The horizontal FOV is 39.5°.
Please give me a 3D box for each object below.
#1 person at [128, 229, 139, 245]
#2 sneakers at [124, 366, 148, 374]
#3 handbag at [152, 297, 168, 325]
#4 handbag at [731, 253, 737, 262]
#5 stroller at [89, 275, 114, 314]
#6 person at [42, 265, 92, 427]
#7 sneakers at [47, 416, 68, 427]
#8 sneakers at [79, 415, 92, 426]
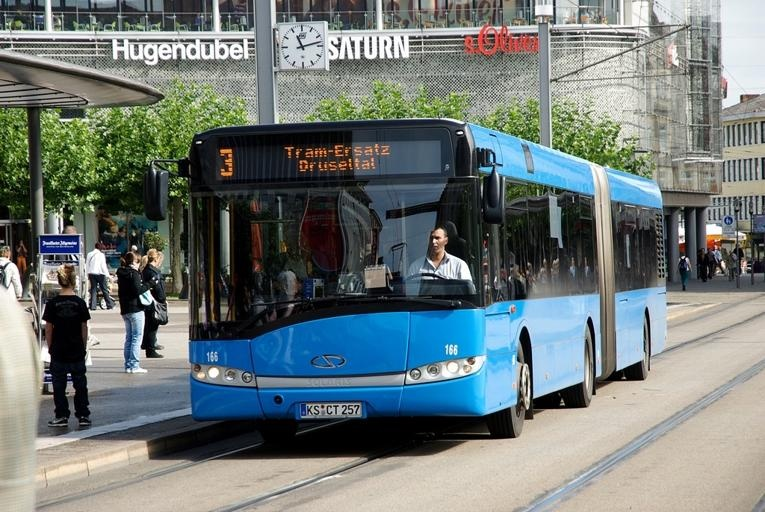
[{"bbox_3d":[-12.552,-0.935,53.562,0.710,0.776,0.309,-1,3,33],"label":"person"},{"bbox_3d":[-4.641,2.177,19.994,0.444,0.228,0.171,0,-3,-2],"label":"sneakers"},{"bbox_3d":[-4.490,1.126,21.362,0.180,0.588,0.507,-6,-6,28],"label":"handbag"},{"bbox_3d":[22.338,0.144,67.659,0.331,0.484,1.426,-3,-7,15],"label":"handbag"},{"bbox_3d":[-9.657,1.362,36.358,1.015,0.731,2.029,6,-22,-6],"label":"stroller"},{"bbox_3d":[-4.288,1.247,14.459,0.584,2.210,0.678,-4,3,-20],"label":"person"},{"bbox_3d":[-4.466,2.279,14.655,0.352,0.198,0.124,1,1,43],"label":"sneakers"},{"bbox_3d":[-4.087,2.286,14.574,0.074,0.108,0.228,0,-9,2],"label":"sneakers"}]
